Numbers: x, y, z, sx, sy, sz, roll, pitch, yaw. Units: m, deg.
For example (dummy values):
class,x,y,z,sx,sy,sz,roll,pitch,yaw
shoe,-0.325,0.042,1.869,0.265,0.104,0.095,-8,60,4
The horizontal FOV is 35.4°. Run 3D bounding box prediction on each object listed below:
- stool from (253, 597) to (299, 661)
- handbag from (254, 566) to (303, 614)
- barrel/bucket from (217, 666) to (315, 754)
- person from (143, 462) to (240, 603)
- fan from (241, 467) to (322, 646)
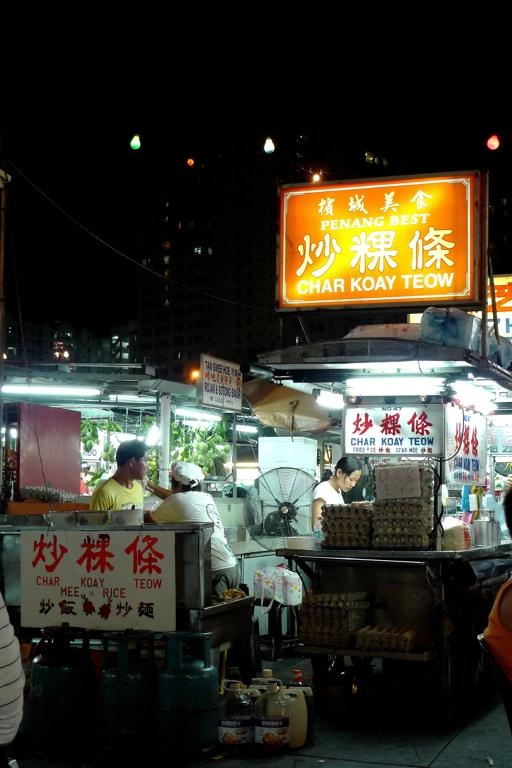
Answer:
class,x,y,z,sx,sy,sz,roll,pitch,yaw
stool,0.282,2.652,8.780,0.520,0.563,0.525,5,-18,-18
handbag,0.192,2.040,8.049,0.490,0.398,0.357,0,-1,9
barrel/bucket,0.062,2.053,5.005,0.578,0.409,0.441,0,-1,1
person,-0.500,1.084,6.269,0.586,1.016,0.669,2,3,10
fan,0.225,1.787,8.769,0.936,1.657,0.935,-2,-7,20
